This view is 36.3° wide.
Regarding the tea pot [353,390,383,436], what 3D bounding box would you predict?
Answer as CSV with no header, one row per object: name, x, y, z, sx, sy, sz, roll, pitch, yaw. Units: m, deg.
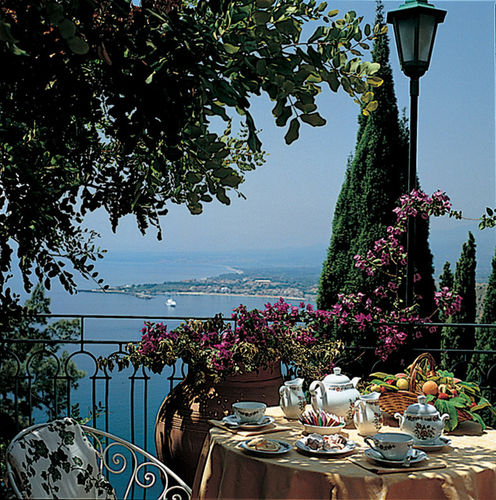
tea pot,0.458,0.624,2.945,0.105,0.147,0.164,3,5,32

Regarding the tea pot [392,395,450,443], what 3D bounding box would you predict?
tea pot,0.652,0.628,2.835,0.216,0.166,0.156,7,6,13

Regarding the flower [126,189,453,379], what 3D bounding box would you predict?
flower,0.383,0.339,4.462,1.966,0.633,1.204,-5,3,-13

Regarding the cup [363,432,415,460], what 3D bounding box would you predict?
cup,0.502,0.678,2.629,0.139,0.079,0.113,-1,0,5

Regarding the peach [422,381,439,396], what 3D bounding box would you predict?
peach,0.726,0.550,3.021,0.058,0.058,0.053,-3,23,-5

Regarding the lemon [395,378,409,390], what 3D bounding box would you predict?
lemon,0.627,0.541,3.071,0.045,0.047,0.043,-17,-7,24
